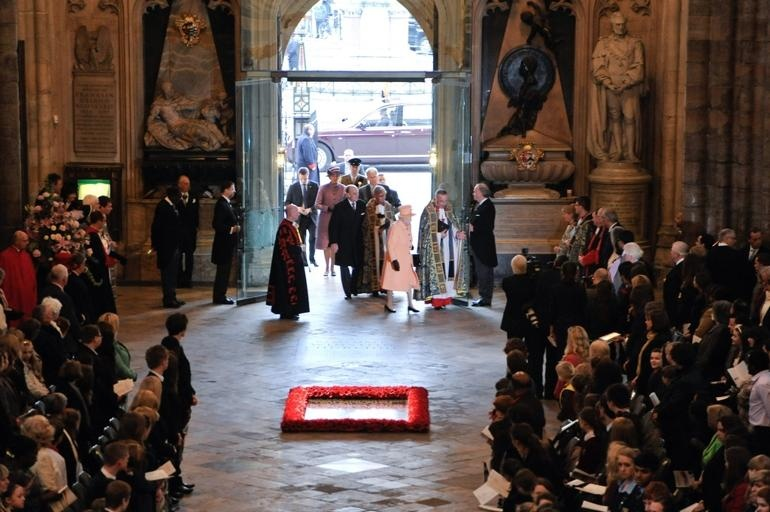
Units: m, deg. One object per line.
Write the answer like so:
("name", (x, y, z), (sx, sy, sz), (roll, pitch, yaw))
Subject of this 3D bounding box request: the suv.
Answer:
("suv", (-0.336, -3.093, 23.463), (4.064, 1.428, 1.664), (1, 5, -4))

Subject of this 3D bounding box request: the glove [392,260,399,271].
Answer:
("glove", (0.157, 0.139, 13.894), (0.104, 0.143, 0.042), (-29, 20, -15))

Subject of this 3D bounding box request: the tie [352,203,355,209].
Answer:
("tie", (-0.534, -0.847, 15.167), (0.068, 0.077, 0.019), (-1, -18, -6))

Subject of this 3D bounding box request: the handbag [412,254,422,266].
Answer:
("handbag", (0.487, 0.062, 14.264), (0.167, 0.174, 0.162), (-1, 13, -3))

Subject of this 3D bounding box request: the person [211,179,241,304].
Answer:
("person", (-2.619, -0.209, 14.905), (0.498, 1.984, 0.940), (-2, 13, -10))

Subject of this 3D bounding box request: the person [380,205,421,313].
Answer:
("person", (0.240, 0.038, 14.066), (0.648, 1.681, 0.412), (-7, 15, -30))

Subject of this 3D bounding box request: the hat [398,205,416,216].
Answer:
("hat", (0.322, -0.729, 14.015), (0.220, 0.160, 0.249), (0, 12, 0))

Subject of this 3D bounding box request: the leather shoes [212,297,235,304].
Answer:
("leather shoes", (-2.630, 0.712, 14.782), (0.336, 0.127, 0.122), (0, 4, -7))

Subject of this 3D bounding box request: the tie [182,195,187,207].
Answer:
("tie", (-3.321, -0.931, 15.095), (0.128, 0.171, 0.042), (0, 0, -28))

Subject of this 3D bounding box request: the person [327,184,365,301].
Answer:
("person", (-0.585, -0.259, 15.113), (0.553, 1.835, 0.698), (-6, 14, -25))

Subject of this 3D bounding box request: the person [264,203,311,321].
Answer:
("person", (-1.466, 0.103, 13.593), (0.604, 1.720, 0.387), (-1, 13, -6))

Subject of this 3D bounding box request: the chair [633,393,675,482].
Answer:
("chair", (2.218, 1.509, 7.570), (0.456, 0.756, 0.522), (-6, -8, 24))

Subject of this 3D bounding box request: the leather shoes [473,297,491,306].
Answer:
("leather shoes", (1.544, 0.736, 14.650), (0.306, 0.116, 0.109), (2, 3, -2))

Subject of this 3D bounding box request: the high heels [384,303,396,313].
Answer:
("high heels", (0.053, 0.827, 14.302), (0.080, 0.097, 0.230), (-2, 2, -35))

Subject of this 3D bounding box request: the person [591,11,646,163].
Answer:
("person", (3.887, -2.819, 15.237), (0.869, 2.476, 0.344), (3, 13, 13))

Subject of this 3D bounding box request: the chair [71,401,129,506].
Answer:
("chair", (-2.256, 1.576, 7.155), (0.253, 0.701, 0.234), (16, 24, -51))
